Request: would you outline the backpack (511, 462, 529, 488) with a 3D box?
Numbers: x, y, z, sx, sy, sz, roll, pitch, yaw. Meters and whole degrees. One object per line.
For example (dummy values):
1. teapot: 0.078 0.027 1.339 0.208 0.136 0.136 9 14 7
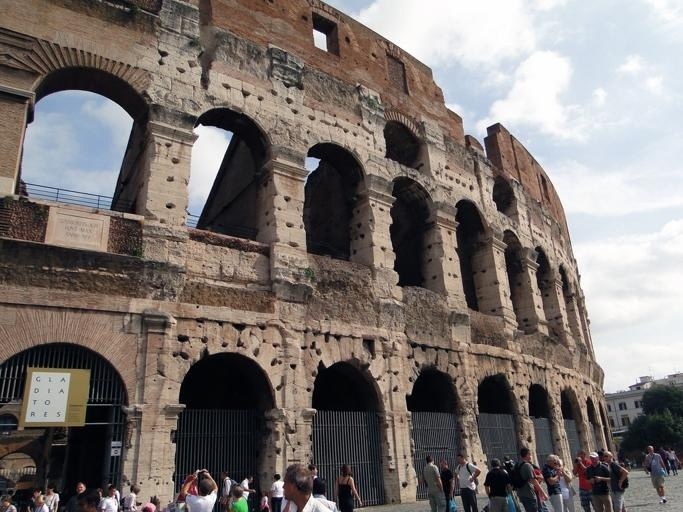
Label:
1. backpack: 2.730 3.390 7.772 0.266 0.376 0.113 -15 -26 30
